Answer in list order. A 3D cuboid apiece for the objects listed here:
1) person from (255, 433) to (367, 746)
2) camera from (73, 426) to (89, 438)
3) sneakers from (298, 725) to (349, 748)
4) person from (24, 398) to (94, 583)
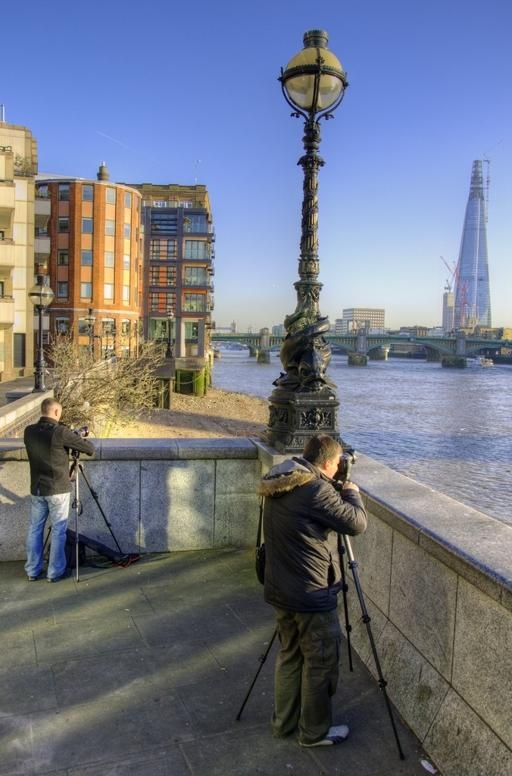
[{"bbox_3d":[0.274,1.081,3.699,0.519,1.451,0.303,2,6,6],"label":"person"},{"bbox_3d":[-1.497,0.378,6.242,0.127,0.096,0.293,6,-8,-26],"label":"camera"},{"bbox_3d":[0.366,1.774,3.705,0.184,0.043,0.105,-3,0,-9],"label":"sneakers"},{"bbox_3d":[-1.616,0.829,5.906,0.556,1.477,0.405,1,6,-3],"label":"person"}]
